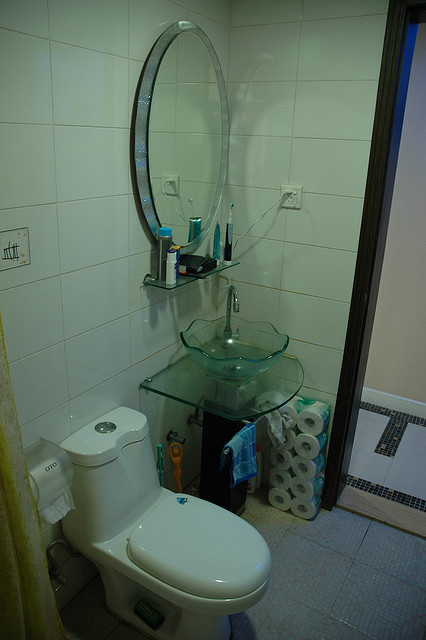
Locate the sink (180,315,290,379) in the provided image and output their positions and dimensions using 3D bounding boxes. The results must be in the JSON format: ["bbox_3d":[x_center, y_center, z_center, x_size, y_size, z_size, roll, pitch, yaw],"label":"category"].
[{"bbox_3d":[0.101,0.092,1.961,0.420,0.132,0.591,5,15,8],"label":"sink"}]

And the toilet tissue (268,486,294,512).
[{"bbox_3d":[0.322,0.831,2.097,0.118,0.130,0.066,3,8,35],"label":"toilet tissue"}]

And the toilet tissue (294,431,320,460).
[{"bbox_3d":[0.423,0.530,2.021,0.091,0.116,0.125,8,7,22],"label":"toilet tissue"}]

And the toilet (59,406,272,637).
[{"bbox_3d":[-0.170,0.664,1.471,0.614,0.688,0.375,14,31,26],"label":"toilet"}]

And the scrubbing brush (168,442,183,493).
[{"bbox_3d":[-0.148,0.652,1.953,0.058,0.284,0.047,-10,23,-14],"label":"scrubbing brush"}]

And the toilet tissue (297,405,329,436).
[{"bbox_3d":[0.433,0.442,1.957,0.097,0.126,0.126,9,16,25],"label":"toilet tissue"}]

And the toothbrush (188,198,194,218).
[{"bbox_3d":[-0.086,-0.437,1.761,0.003,0.073,0.051,7,14,21],"label":"toothbrush"}]

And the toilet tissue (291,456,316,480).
[{"bbox_3d":[0.406,0.654,2.000,0.097,0.107,0.033,12,22,31],"label":"toilet tissue"}]

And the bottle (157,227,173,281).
[{"bbox_3d":[-0.172,-0.229,1.580,0.044,0.183,0.049,2,13,-2],"label":"bottle"}]

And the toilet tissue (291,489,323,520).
[{"bbox_3d":[0.431,0.853,2.063,0.103,0.134,0.142,12,6,23],"label":"toilet tissue"}]

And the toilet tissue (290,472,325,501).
[{"bbox_3d":[0.436,0.712,2.078,0.103,0.133,0.142,12,14,36],"label":"toilet tissue"}]

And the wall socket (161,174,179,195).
[{"bbox_3d":[-0.156,-0.480,1.615,0.017,0.073,0.072,28,27,34],"label":"wall socket"}]

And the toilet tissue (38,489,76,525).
[{"bbox_3d":[-0.429,0.517,1.254,0.028,0.068,0.086,38,63,21],"label":"toilet tissue"}]
